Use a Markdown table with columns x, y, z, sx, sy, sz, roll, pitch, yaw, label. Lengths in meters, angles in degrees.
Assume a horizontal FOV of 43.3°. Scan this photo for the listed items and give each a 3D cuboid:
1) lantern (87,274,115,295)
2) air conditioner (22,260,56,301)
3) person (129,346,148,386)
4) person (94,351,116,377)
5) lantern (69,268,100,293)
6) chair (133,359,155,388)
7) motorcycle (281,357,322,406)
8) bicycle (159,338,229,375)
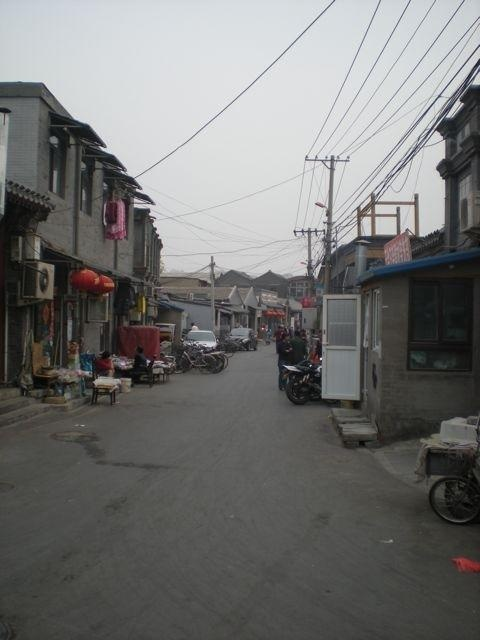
| x | y | z | sx | sy | sz | roll | pitch | yaw | label |
| --- | --- | --- | --- | --- | --- | --- | --- | --- | --- |
| -3.925 | -0.970 | 16.786 | 0.599 | 0.425 | 0.691 | 1 | 1 | 0 | lantern |
| -4.294 | -0.822 | 12.711 | 0.316 | 0.886 | 0.910 | 0 | -3 | 8 | air conditioner |
| -3.035 | 1.388 | 18.225 | 0.507 | 1.169 | 1.195 | 0 | -1 | -17 | person |
| -3.508 | 1.145 | 15.499 | 0.442 | 0.656 | 0.729 | 1 | -1 | -16 | person |
| -4.127 | -1.074 | 15.885 | 0.554 | 0.729 | 0.575 | 1 | 12 | -2 | lantern |
| -2.941 | 1.617 | 18.418 | 0.638 | 1.092 | 0.718 | 1 | -3 | -11 | chair |
| 1.587 | 1.598 | 14.865 | 0.861 | 0.917 | 0.639 | 0 | -1 | 2 | motorcycle |
| -1.790 | 1.463 | 24.280 | 2.630 | 1.584 | 1.160 | 5 | -5 | 2 | bicycle |
